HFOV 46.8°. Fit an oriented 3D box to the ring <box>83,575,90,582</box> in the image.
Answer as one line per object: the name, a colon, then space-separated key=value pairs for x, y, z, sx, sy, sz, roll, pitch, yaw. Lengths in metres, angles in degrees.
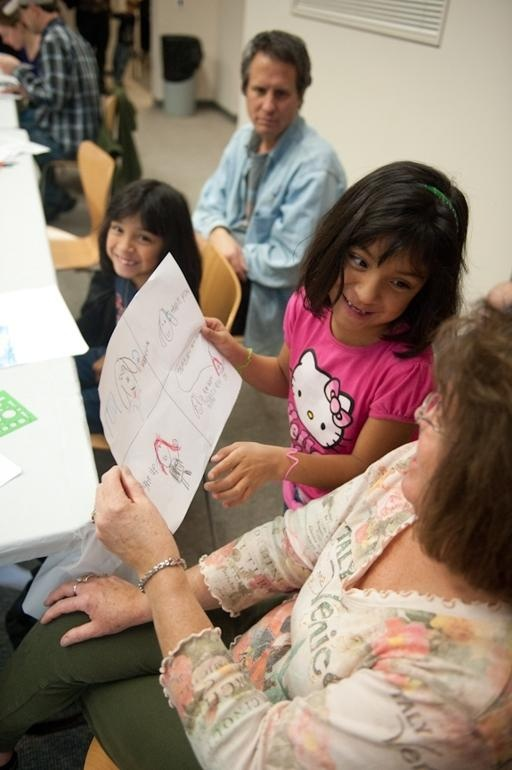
ring: x=-0.250 y=0.282 z=0.868 sx=0.007 sy=0.002 sz=0.008 roll=11 pitch=17 yaw=-4

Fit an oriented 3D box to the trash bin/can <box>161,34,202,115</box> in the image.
trash bin/can: x=-0.293 y=-1.218 z=2.324 sx=0.159 sy=0.288 sz=0.141 roll=-11 pitch=48 yaw=-17

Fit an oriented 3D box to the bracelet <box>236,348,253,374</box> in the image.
bracelet: x=-0.021 y=-0.050 z=1.162 sx=0.031 sy=0.018 sz=0.044 roll=4 pitch=67 yaw=-1

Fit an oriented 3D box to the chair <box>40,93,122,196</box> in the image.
chair: x=-0.690 y=-0.941 z=2.524 sx=0.239 sy=0.243 sz=0.321 roll=-20 pitch=21 yaw=-23

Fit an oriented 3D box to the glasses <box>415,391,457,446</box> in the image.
glasses: x=0.162 y=0.029 z=0.541 sx=0.027 sy=0.034 sz=0.061 roll=-13 pitch=-14 yaw=2

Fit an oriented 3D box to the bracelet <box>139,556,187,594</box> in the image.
bracelet: x=-0.109 y=0.213 z=0.695 sx=0.045 sy=0.012 sz=0.038 roll=-34 pitch=8 yaw=-4
